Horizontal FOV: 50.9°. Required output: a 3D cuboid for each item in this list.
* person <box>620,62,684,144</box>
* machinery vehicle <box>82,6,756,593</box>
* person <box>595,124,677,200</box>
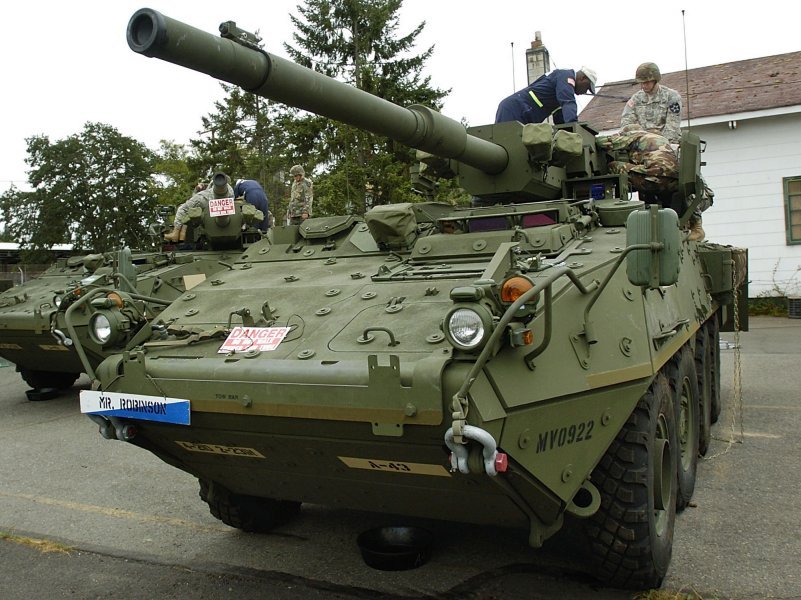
[{"bbox_3d":[2.942,-2.224,9.798,0.673,0.955,0.712,3,12,30],"label":"person"},{"bbox_3d":[0.095,0.100,6.062,3.377,2.791,5.473,-1,-3,33],"label":"machinery vehicle"},{"bbox_3d":[2.500,-1.406,8.637,0.780,0.365,0.603,25,21,31],"label":"person"}]
